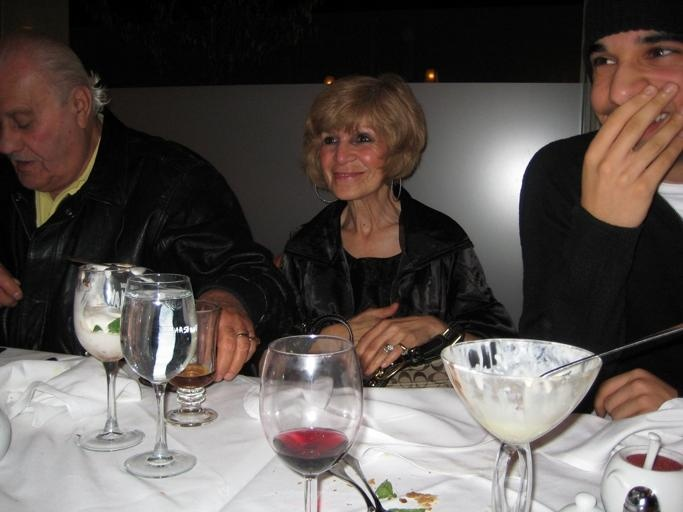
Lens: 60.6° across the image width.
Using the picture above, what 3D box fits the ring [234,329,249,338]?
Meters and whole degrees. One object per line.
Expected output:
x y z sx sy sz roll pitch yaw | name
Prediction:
-0.249 0.197 1.472 0.031 0.021 0.051 -5 20 -10 | ring

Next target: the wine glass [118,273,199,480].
-0.361 0.217 1.179 0.155 0.353 0.369 -6 21 -10 | wine glass

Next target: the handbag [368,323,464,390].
0.198 0.287 1.649 0.284 0.082 0.072 -32 48 -12 | handbag

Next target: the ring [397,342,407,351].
0.201 0.294 1.881 0.018 0.020 0.022 0 10 5 | ring

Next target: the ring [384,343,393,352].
0.153 0.300 1.900 0.038 0.010 0.031 -3 55 10 | ring

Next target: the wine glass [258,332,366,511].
-0.046 0.280 0.984 0.160 0.304 0.216 -2 21 -2 | wine glass
